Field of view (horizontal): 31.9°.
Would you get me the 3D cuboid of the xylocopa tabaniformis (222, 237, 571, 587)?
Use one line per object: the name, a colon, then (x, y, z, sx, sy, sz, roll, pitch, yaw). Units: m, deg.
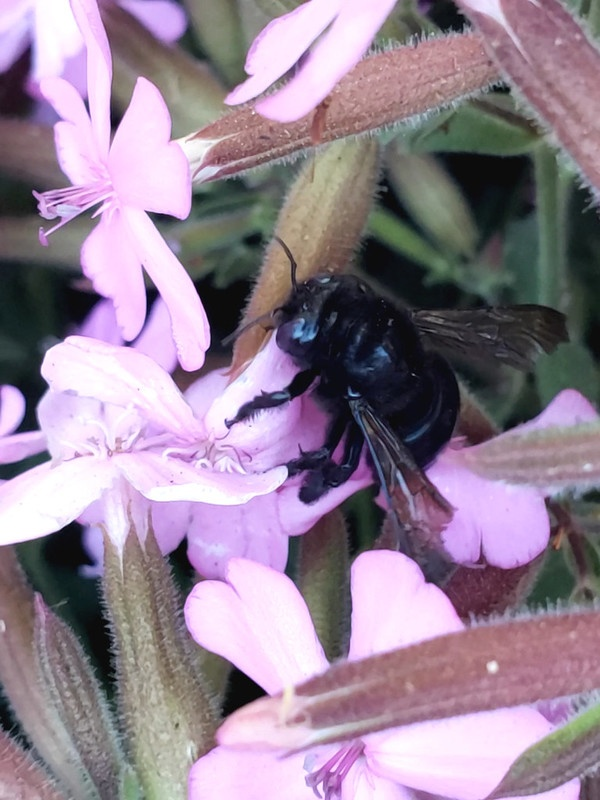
xylocopa tabaniformis: (0.067, -0.002, 0.777, 0.101, 0.290, 0.218, -53, 6, -8)
